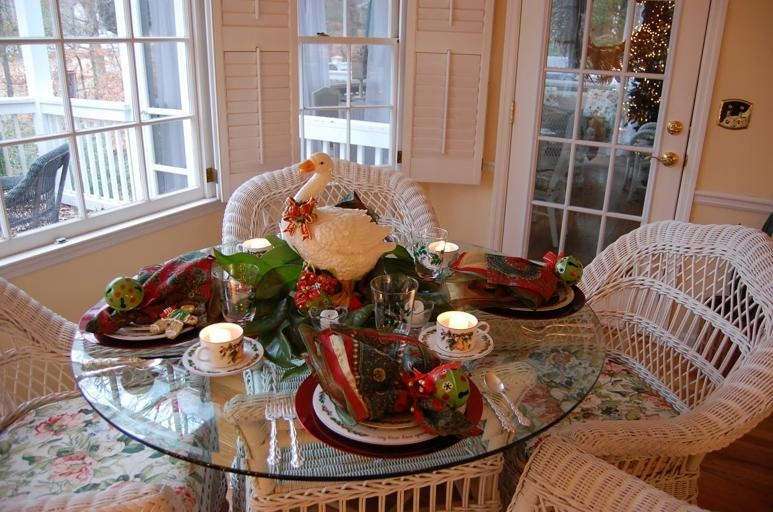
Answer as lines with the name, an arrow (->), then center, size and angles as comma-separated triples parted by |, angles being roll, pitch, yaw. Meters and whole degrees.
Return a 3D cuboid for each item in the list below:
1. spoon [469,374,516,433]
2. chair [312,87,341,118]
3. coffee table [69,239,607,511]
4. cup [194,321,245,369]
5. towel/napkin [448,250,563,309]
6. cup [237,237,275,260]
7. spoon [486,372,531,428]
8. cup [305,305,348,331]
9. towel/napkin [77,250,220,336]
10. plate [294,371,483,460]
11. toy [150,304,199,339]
spoon -> 0.288, 0.387, 1.402 | 0.068, 0.022, 0.159 | -9, 29, -17
chair -> -0.369, -0.977, 3.370 | 0.187, 0.290, 0.170 | 0, 39, -6
coffee table -> -0.211, 0.384, 1.544 | 0.811, 0.175, 0.745 | 1, 25, 2
cup -> -0.464, 0.255, 1.459 | 0.112, 0.090, 0.140 | 14, 22, 21
towel/napkin -> 0.385, 0.079, 1.755 | 0.245, 0.087, 0.236 | 5, 25, 15
cup -> -0.485, -0.039, 1.950 | 0.105, 0.042, 0.098 | -1, 21, 0
spoon -> 0.319, 0.375, 1.404 | 0.044, 0.028, 0.201 | -8, 30, -12
cup -> -0.171, 0.167, 1.509 | 0.084, 0.036, 0.080 | -1, 11, 0
towel/napkin -> -0.716, 0.118, 1.612 | 0.326, 0.099, 0.242 | -19, 35, -32
plate -> -0.014, 0.357, 1.333 | 0.367, 0.041, 0.329 | 9, 48, -22
toy -> -0.610, 0.181, 1.583 | 0.134, 0.035, 0.135 | 0, 29, 20
